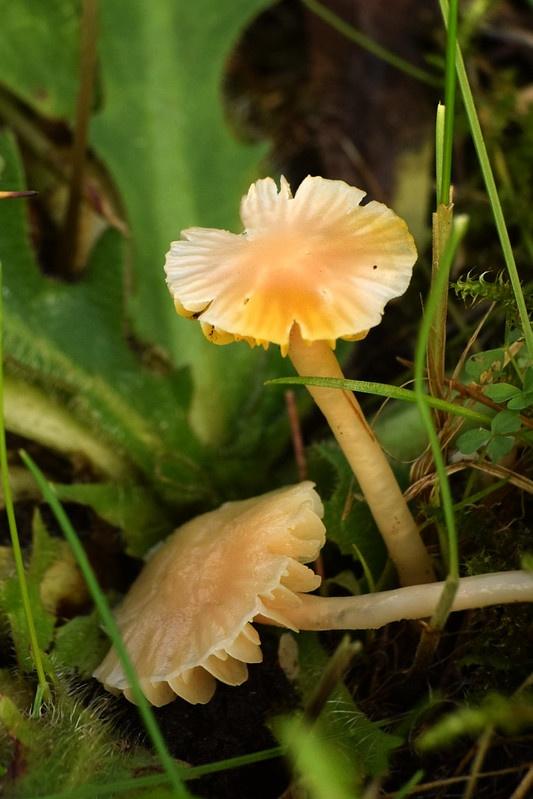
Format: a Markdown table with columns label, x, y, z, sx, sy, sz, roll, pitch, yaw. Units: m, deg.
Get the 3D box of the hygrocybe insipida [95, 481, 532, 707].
| label | x | y | z | sx | sy | sz | roll | pitch | yaw |
| --- | --- | --- | --- | --- | --- | --- | --- | --- | --- |
| hygrocybe insipida | 0.024 | 0.227 | 0.888 | 0.449 | 0.120 | 0.245 | -6 | 23 | 29 |
